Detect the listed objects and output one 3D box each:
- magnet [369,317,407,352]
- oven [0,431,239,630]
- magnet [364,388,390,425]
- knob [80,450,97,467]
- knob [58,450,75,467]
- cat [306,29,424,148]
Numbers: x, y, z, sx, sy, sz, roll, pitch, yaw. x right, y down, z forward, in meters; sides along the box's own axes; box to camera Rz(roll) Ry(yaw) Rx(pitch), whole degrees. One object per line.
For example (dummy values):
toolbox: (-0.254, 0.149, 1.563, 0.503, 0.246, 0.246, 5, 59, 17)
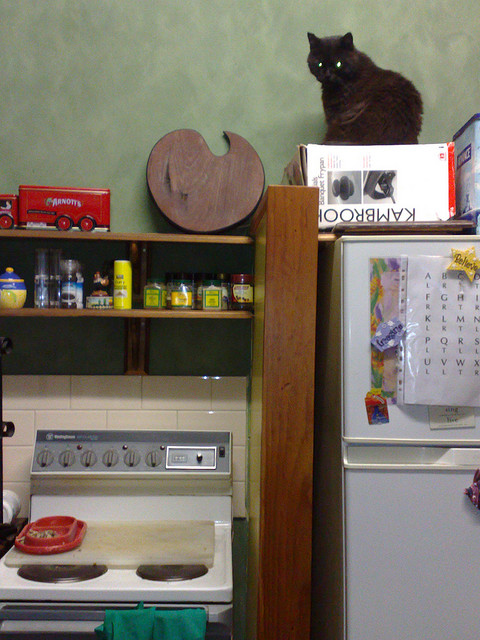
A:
magnet: (0.363, 0.033, 1.634, 0.081, 0.061, 0.019, -42, 2, 0)
oven: (-0.301, 0.536, 2.050, 0.520, 0.854, 0.546, 0, -14, -1)
magnet: (0.335, 0.208, 1.644, 0.061, 0.128, 0.013, -5, -3, 4)
knob: (-0.488, 0.432, 2.167, 0.038, 0.049, 0.042, 0, -1, 2)
knob: (-0.557, 0.433, 2.166, 0.037, 0.053, 0.013, 4, -25, -2)
cat: (0.432, -0.670, 2.162, 0.310, 0.386, 0.231, 8, 8, 23)
